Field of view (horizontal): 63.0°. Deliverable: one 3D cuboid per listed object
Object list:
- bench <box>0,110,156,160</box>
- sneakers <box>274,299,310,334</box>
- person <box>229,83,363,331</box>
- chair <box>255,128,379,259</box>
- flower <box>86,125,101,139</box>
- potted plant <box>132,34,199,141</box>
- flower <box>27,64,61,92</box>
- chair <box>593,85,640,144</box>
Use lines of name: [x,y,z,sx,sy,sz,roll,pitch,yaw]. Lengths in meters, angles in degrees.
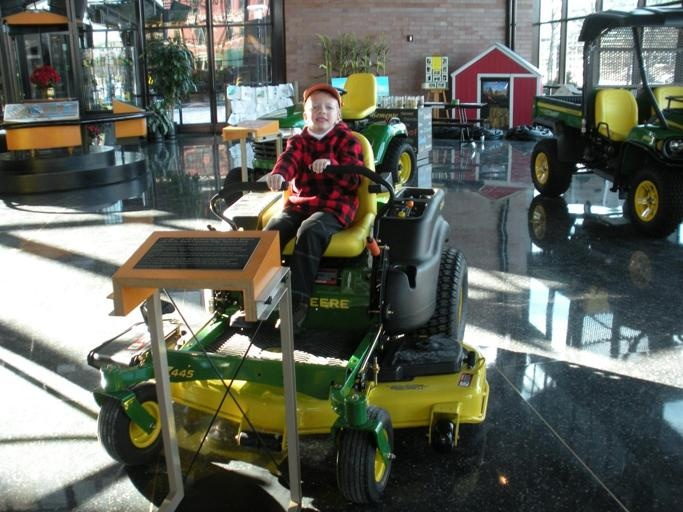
bench: [-4.161,-1.925,8.581,1.086,0.558,2.196,2,16,14]
sneakers: [-0.213,0.315,2.818,0.176,0.162,0.303,1,-21,0]
person: [-0.148,-0.289,2.981,0.533,1.228,0.747,-1,15,2]
chair: [-0.165,-0.345,3.195,0.643,0.795,0.702,8,24,19]
flower: [-4.295,-2.142,9.546,0.224,0.238,0.170,-2,-2,0]
potted plant: [-3.945,-3.817,12.639,1.088,2.232,0.991,-6,15,-13]
flower: [-4.720,-2.832,8.753,0.358,0.411,0.350,-4,22,-11]
chair: [2.982,-1.510,5.858,0.426,0.558,0.461,-3,9,-2]
